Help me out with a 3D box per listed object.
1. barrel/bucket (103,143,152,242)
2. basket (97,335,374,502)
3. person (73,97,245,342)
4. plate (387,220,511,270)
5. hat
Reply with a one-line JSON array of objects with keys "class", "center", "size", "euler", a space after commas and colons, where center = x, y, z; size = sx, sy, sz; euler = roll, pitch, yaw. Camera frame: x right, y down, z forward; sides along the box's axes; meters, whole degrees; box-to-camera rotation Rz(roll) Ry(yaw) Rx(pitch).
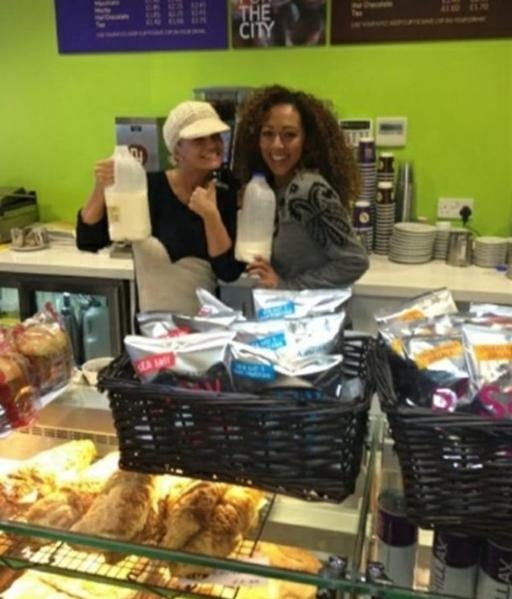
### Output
[{"class": "barrel/bucket", "center": [-0.301, -0.248, 1.210], "size": [0.109, 0.209, 0.100], "euler": [2, 21, -1]}, {"class": "basket", "center": [-0.021, 0.120, 0.641], "size": [0.244, 0.109, 0.195], "euler": [0, 3, 9]}, {"class": "person", "center": [-0.302, -0.079, 1.827], "size": [0.540, 1.226, 0.329], "euler": [-6, 36, -16]}, {"class": "plate", "center": [0.961, -0.276, 2.637], "size": [0.566, 0.205, 0.268], "euler": [5, 18, 25]}, {"class": "hat", "center": [-0.192, -0.524, 1.545], "size": [0.125, 0.099, 0.184], "euler": [-20, 8, -24]}]
